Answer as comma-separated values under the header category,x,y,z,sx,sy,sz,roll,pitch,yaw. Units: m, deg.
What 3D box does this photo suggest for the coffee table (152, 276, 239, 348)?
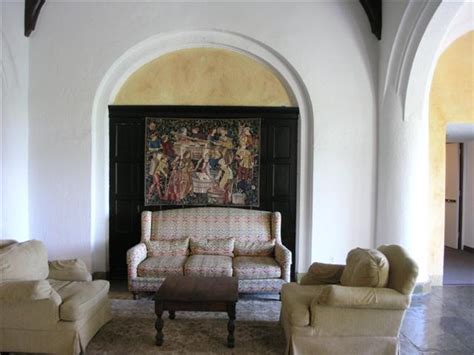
category,x,y,z,sx,sy,sz,roll,pitch,yaw
coffee table,-0.575,1.853,5.997,0.910,0.528,0.950,2,-2,-1

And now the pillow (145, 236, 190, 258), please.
category,x,y,z,sx,sy,sz,roll,pitch,yaw
pillow,-1.200,1.109,7.340,0.837,0.442,0.250,-1,-27,-1
